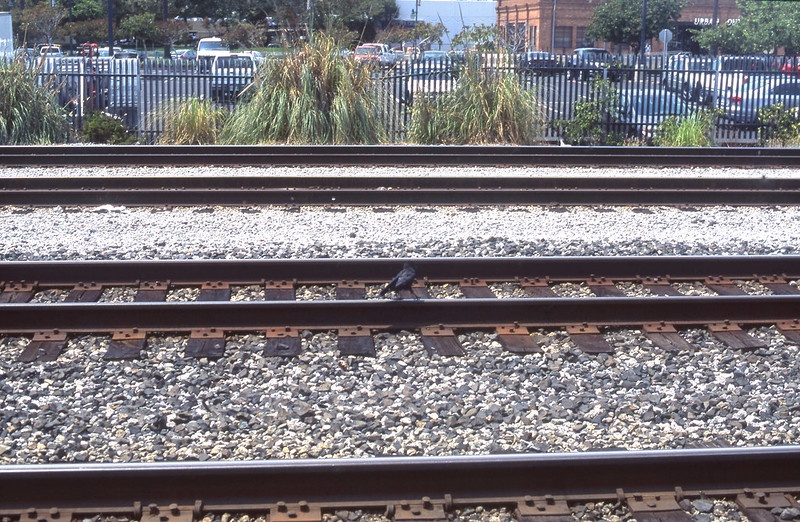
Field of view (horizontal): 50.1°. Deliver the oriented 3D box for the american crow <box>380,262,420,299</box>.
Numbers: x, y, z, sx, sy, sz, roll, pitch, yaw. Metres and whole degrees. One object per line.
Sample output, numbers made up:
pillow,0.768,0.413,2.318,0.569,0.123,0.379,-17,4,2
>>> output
american crow,-0.024,0.184,8.259,0.224,0.350,0.390,-7,15,-27
